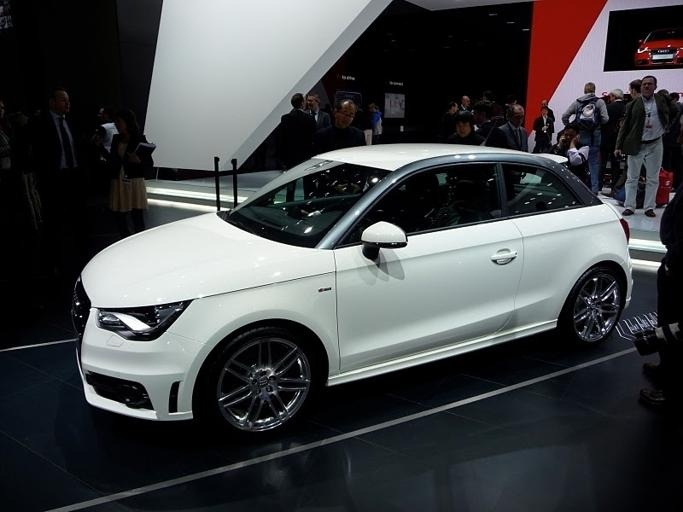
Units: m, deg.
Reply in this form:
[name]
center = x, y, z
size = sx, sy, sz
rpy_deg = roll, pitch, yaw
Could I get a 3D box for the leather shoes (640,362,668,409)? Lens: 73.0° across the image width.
[leather shoes]
center = 2.486, 1.002, 3.685
size = 0.176, 0.229, 0.563
rpy_deg = 0, 4, 24

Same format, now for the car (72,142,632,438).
[car]
center = 0.165, 0.212, 3.735
size = 3.878, 1.493, 2.026
rpy_deg = -6, 16, -26
